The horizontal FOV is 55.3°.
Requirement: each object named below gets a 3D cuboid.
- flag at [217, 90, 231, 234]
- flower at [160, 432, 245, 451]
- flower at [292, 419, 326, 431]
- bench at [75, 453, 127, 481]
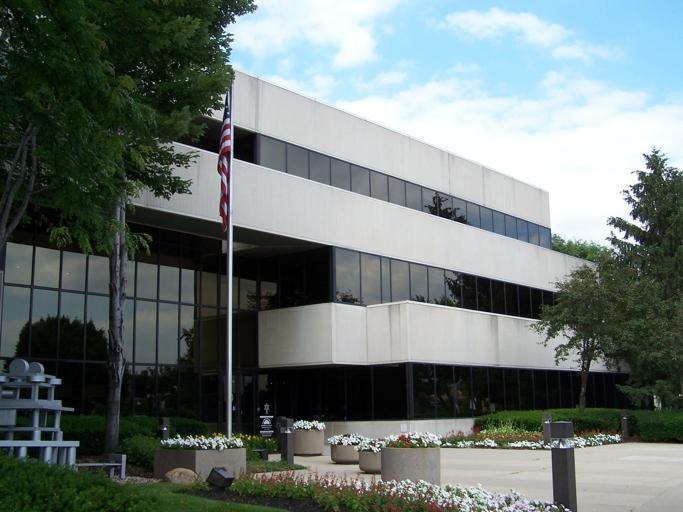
[{"bbox_3d":[-4.165,-3.480,23.339,0.430,4.955,0.985,2,-12,-11],"label":"flag"},{"bbox_3d":[-3.766,5.134,17.801,2.124,0.369,1.044,3,-15,-13],"label":"flower"},{"bbox_3d":[-1.239,6.643,25.412,1.133,0.343,0.566,-3,-15,7],"label":"flower"},{"bbox_3d":[-6.390,5.696,17.593,1.038,0.630,2.127,6,-17,-25],"label":"bench"}]
